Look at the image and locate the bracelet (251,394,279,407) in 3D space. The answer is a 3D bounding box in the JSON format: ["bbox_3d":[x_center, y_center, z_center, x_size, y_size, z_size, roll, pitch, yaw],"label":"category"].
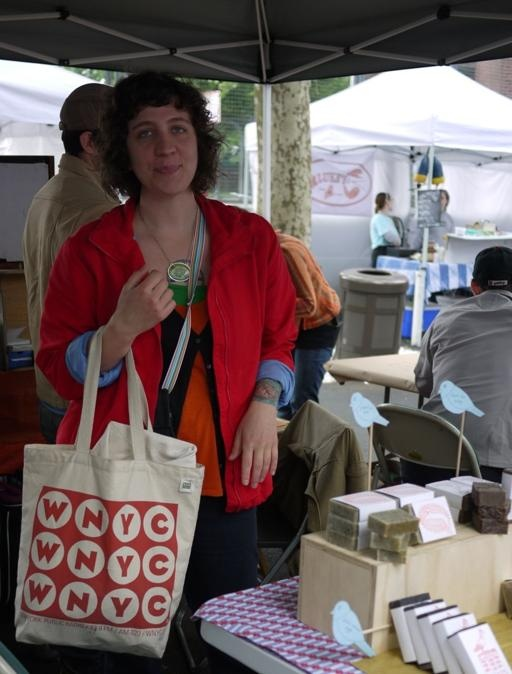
[{"bbox_3d":[0.021,0.137,1.216,0.033,0.008,0.034,16,-1,-18],"label":"bracelet"}]

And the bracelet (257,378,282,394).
[{"bbox_3d":[0.031,0.104,1.249,0.037,0.026,0.035,1,18,-12],"label":"bracelet"}]

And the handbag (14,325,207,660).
[{"bbox_3d":[-0.283,0.297,1.044,0.332,0.601,0.194,-5,11,-22],"label":"handbag"}]

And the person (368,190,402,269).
[{"bbox_3d":[2.152,-1.798,9.421,0.474,1.225,1.235,1,10,12],"label":"person"}]
